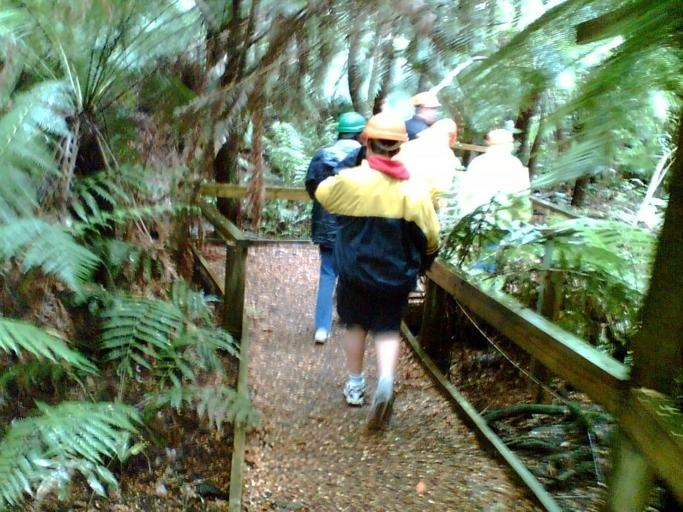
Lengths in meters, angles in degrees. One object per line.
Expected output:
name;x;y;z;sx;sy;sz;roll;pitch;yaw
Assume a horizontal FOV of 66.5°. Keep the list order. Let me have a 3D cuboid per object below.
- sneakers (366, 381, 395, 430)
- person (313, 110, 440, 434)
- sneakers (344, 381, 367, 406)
sneakers;0.248;1.007;3.508;0.124;0.463;0.190;13;28;5
person;0.217;0.162;3.357;0.565;2.110;0.586;-11;22;-41
sneakers;0.103;1.021;3.822;0.110;0.145;0.199;1;2;-3
